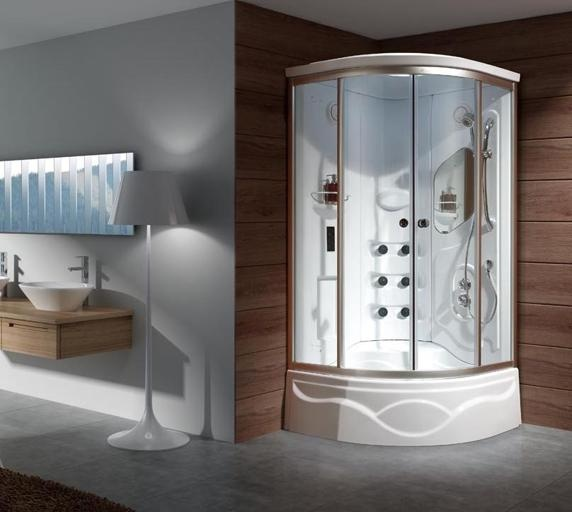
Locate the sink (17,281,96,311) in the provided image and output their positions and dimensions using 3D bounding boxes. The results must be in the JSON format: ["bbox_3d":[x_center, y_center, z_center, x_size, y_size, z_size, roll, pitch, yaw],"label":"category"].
[{"bbox_3d":[-1.585,0.274,3.529,0.625,0.179,0.422,6,7,39],"label":"sink"}]

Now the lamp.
[{"bbox_3d":[-0.782,0.313,3.037,0.501,1.650,0.606,2,5,6],"label":"lamp"}]
